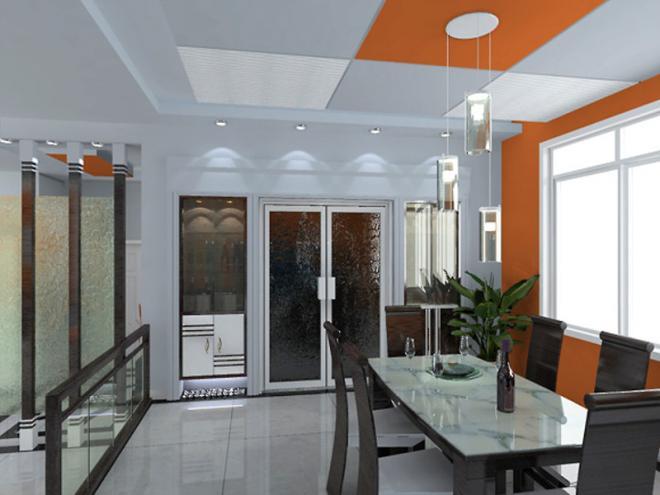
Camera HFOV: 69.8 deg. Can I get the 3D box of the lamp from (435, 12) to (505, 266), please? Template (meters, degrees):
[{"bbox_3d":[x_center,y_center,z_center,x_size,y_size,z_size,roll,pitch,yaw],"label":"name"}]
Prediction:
[{"bbox_3d":[1.094,-0.816,3.713,0.430,1.799,1.581,1,6,16],"label":"lamp"}]

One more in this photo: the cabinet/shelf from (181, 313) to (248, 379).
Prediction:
[{"bbox_3d":[-1.379,1.139,5.622,0.775,0.760,0.397,-1,0,-10],"label":"cabinet/shelf"}]
